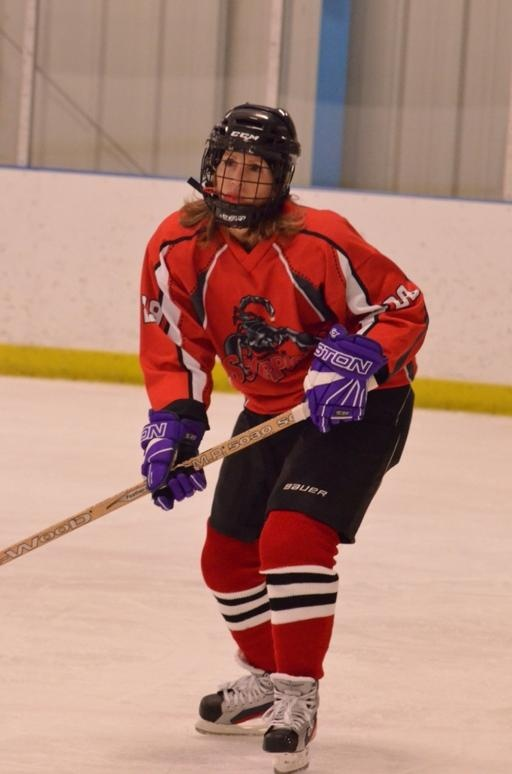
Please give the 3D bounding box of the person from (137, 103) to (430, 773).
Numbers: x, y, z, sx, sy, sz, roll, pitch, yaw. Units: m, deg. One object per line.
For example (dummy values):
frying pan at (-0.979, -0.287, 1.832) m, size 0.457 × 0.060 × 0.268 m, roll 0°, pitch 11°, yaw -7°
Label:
person at (-0.037, 0.059, 1.520) m, size 0.555 × 1.157 × 0.478 m, roll 8°, pitch 13°, yaw 32°

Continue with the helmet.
helmet at (0.002, -0.404, 1.515) m, size 0.221 × 0.234 × 0.253 m, roll 9°, pitch 20°, yaw 15°

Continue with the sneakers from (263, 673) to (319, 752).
sneakers at (0.059, 0.543, 1.362) m, size 0.083 × 0.157 × 0.130 m, roll 1°, pitch 10°, yaw 3°
